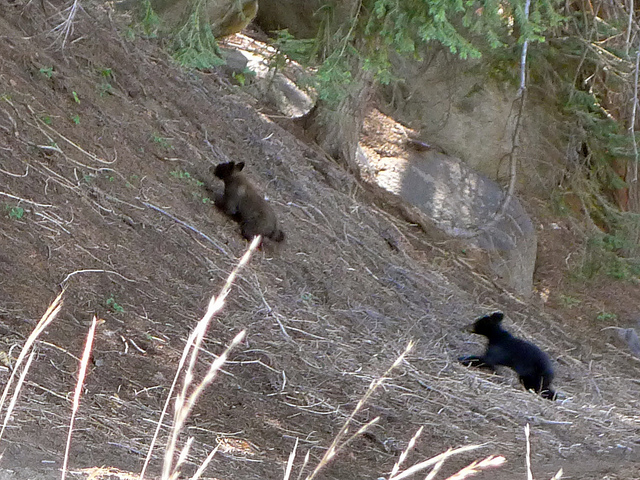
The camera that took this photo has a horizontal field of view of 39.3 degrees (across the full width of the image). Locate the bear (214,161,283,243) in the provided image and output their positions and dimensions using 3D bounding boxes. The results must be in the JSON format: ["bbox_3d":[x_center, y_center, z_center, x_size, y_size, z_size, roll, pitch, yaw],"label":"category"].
[{"bbox_3d":[-0.946,-0.471,12.195,1.361,0.679,0.509,45,27,10],"label":"bear"}]

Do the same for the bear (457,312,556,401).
[{"bbox_3d":[2.789,1.593,12.753,1.580,0.779,0.490,21,13,32],"label":"bear"}]
